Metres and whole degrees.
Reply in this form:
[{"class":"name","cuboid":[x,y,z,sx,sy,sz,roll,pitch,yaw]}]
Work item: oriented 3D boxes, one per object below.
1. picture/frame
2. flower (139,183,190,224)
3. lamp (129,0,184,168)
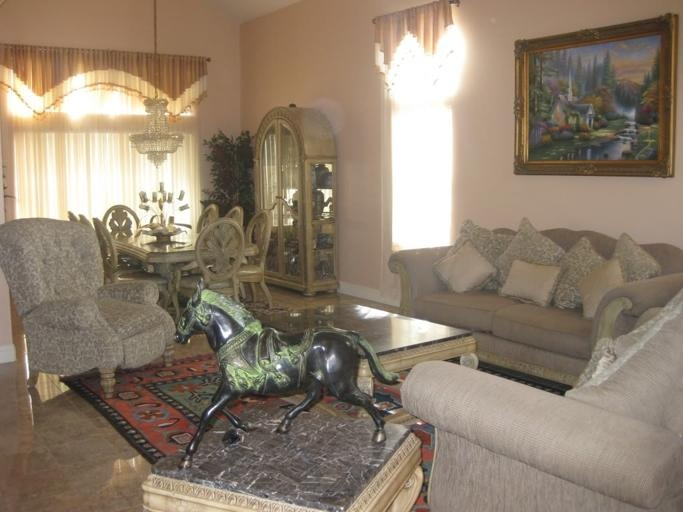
[{"class":"picture/frame","cuboid":[2.043,-1.266,4.457,0.104,1.194,1.341,-9,10,-41]},{"class":"flower","cuboid":[-2.146,-0.606,6.841,0.453,0.512,0.464,0,4,1]},{"class":"lamp","cuboid":[-2.317,-2.259,7.010,0.539,2.279,2.411,-4,10,-17]}]
